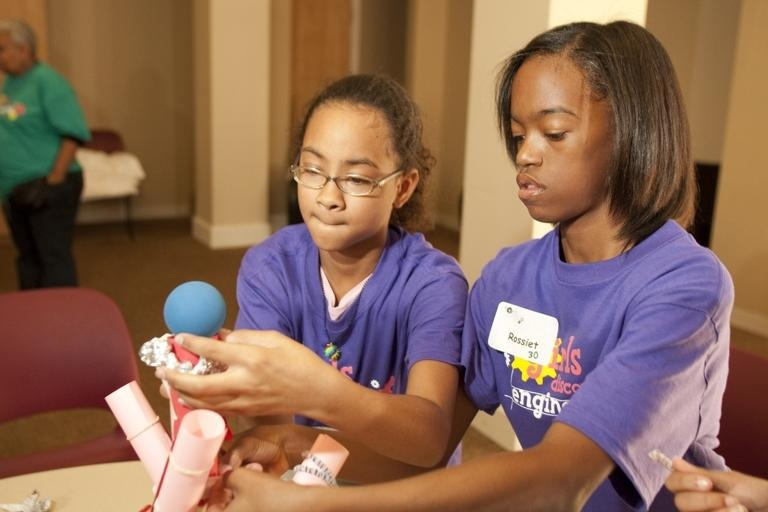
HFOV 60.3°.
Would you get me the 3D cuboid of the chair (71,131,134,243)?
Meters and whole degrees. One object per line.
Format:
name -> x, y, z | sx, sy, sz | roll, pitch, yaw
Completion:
chair -> -0.631, -0.185, 1.538 | 0.152, 0.220, 0.143 | -8, 26, -21
